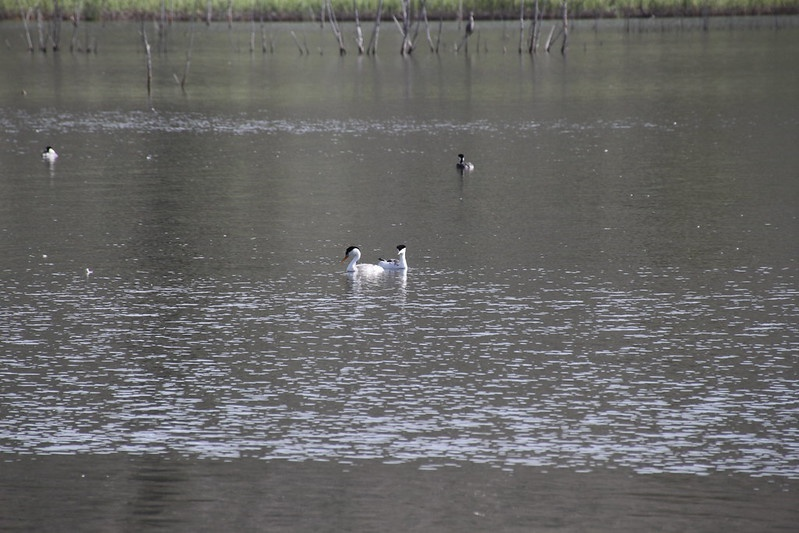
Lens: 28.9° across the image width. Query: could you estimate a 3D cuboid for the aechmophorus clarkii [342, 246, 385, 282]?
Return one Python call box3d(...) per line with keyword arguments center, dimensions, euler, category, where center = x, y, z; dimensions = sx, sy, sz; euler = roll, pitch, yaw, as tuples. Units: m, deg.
box3d(center=(-0.793, -0.071, 33.656), dimensions=(1.084, 0.728, 0.386), euler=(1, 7, -31), category="aechmophorus clarkii")
